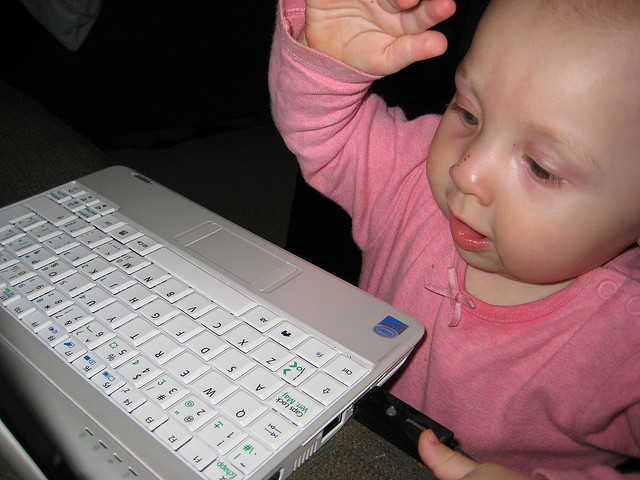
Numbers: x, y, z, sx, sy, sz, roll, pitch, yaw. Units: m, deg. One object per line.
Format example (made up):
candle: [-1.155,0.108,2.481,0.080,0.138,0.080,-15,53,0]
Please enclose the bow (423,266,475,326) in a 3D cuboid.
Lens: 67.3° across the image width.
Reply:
bow: [0.184,0.074,0.658,0.079,0.020,0.068,14,73,-19]
